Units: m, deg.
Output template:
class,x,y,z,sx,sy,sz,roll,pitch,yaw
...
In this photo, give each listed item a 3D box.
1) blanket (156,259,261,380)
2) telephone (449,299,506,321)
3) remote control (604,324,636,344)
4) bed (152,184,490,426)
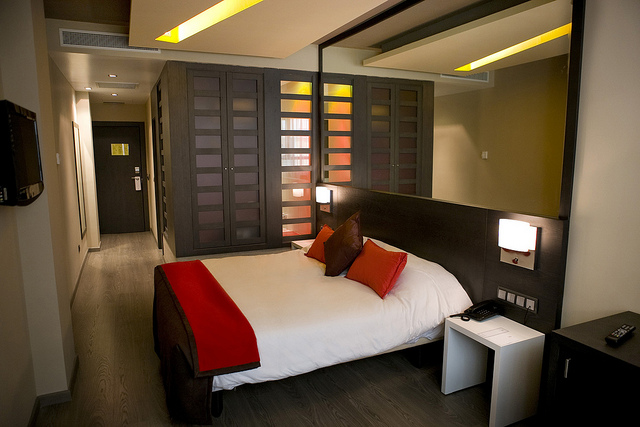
class,x,y,z,sx,sy,sz,roll,pitch,yaw
blanket,-1.126,0.778,4.086,0.541,0.189,1.933,1,18,-30
telephone,1.336,0.828,3.767,0.453,0.107,0.161,-5,10,-19
remote control,2.007,0.813,2.991,0.278,0.054,0.087,-24,24,-27
bed,-0.082,0.736,4.118,2.283,1.132,2.264,-5,12,-19
